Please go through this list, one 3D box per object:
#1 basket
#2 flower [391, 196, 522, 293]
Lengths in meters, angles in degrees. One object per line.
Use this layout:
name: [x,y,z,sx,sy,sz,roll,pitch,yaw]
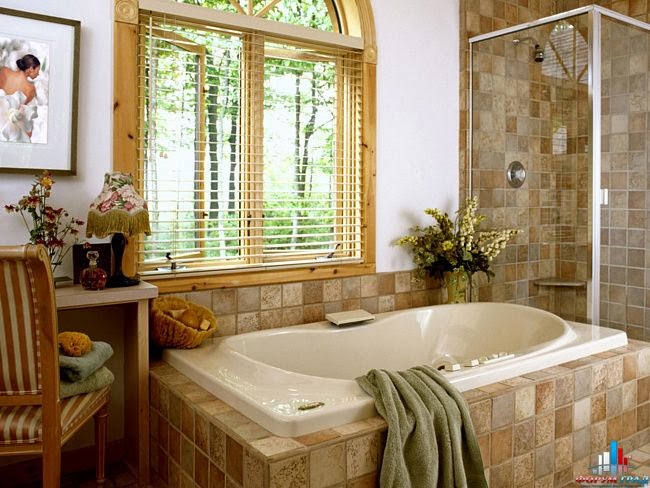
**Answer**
basket: [-0.784,0.446,2.920,0.370,0.285,0.289,-2,12,-21]
flower: [0.972,-0.038,4.042,0.632,0.725,0.806,-4,7,-43]
